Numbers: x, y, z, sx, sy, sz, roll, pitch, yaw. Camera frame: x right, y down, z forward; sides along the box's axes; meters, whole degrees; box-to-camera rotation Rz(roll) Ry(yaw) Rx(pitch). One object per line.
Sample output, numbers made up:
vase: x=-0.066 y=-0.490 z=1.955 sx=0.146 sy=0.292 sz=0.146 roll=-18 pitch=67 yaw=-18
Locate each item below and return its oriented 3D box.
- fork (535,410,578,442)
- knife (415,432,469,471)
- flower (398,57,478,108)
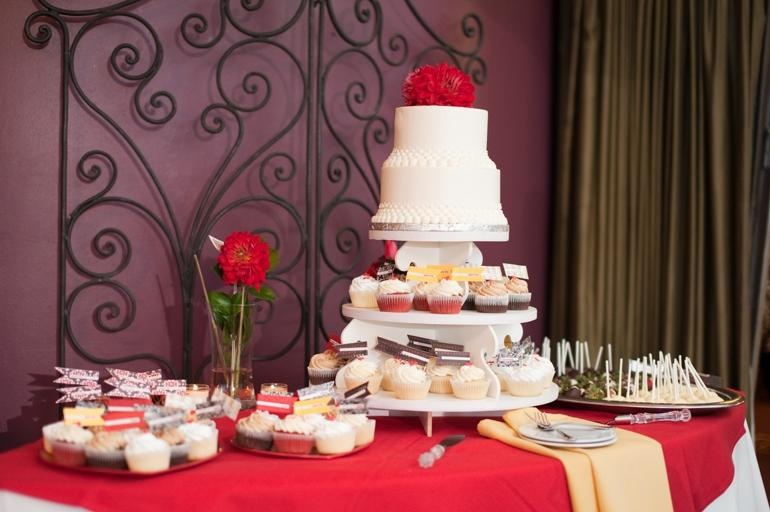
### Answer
fork: x=0.656 y=0.660 z=2.446 sx=0.042 sy=0.044 sz=0.240 roll=4 pitch=3 yaw=-9
knife: x=0.199 y=0.726 z=2.354 sx=0.064 sy=0.059 sz=0.240 roll=0 pitch=3 yaw=30
flower: x=0.283 y=-0.735 z=2.813 sx=0.311 sy=0.164 sz=0.310 roll=3 pitch=-2 yaw=-39
